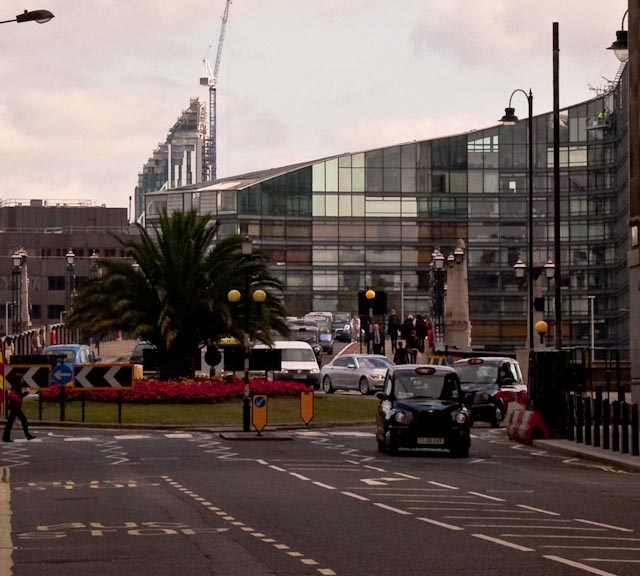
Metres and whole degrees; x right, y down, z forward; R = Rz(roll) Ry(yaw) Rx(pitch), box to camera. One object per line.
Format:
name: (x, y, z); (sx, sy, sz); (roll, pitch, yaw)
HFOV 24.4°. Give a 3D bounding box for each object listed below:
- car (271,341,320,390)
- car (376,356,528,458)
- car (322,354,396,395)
car: (-0.799, 2.702, 53.460); (1.619, 1.697, 2.005); (0, -3, -1)
car: (2.166, 2.545, 31.139); (1.897, 1.901, 1.661); (0, -2, 2)
car: (1.441, 3.009, 52.953); (1.251, 1.059, 2.978); (1, -6, -31)
